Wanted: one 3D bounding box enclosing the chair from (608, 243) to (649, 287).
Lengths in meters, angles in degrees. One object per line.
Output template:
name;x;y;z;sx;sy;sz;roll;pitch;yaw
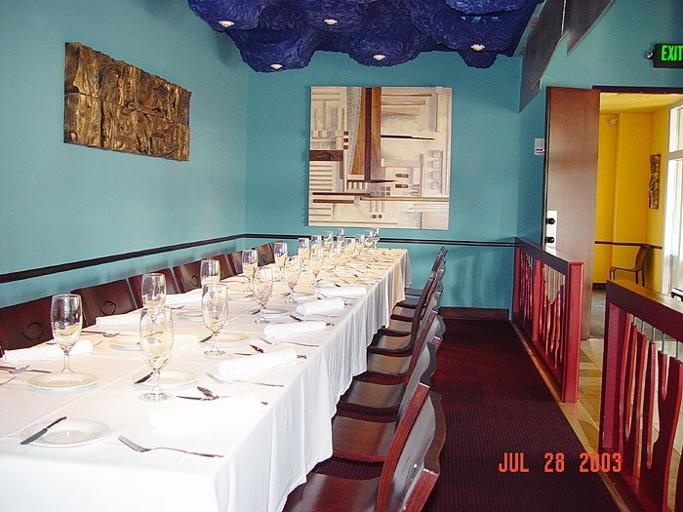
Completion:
chair;5.309;0.266;8.800;0.584;0.869;0.476;2;7;26
